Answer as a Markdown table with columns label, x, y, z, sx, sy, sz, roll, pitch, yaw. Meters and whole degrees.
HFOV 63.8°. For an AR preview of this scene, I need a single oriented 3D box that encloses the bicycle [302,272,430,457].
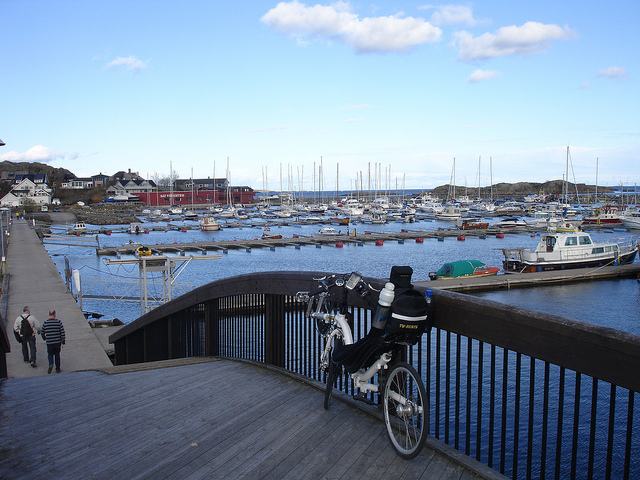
| label | x | y | z | sx | sy | sz | roll | pitch | yaw |
| --- | --- | --- | --- | --- | --- | --- | --- | --- | --- |
| bicycle | 0.424 | 1.035 | 4.409 | 0.726 | 1.103 | 1.777 | 19 | -8 | -25 |

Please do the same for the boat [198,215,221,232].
| label | x | y | z | sx | sy | sz | roll | pitch | yaw |
| --- | --- | --- | --- | --- | --- | --- | --- | --- | --- |
| boat | -16.678 | -2.554 | 78.626 | 2.370 | 2.306 | 5.642 | -1 | 2 | -17 |

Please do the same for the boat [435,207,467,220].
| label | x | y | z | sx | sy | sz | roll | pitch | yaw |
| --- | --- | --- | --- | --- | --- | --- | --- | --- | --- |
| boat | 24.521 | -5.031 | 96.932 | 4.628 | 2.727 | 9.497 | -1 | 1 | 10 |

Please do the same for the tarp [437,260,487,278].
| label | x | y | z | sx | sy | sz | roll | pitch | yaw |
| --- | --- | --- | --- | --- | --- | --- | --- | --- | --- |
| tarp | 8.520 | 1.681 | 30.890 | 2.218 | 0.608 | 1.188 | -3 | 7 | -18 |

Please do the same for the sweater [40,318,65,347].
| label | x | y | z | sx | sy | sz | roll | pitch | yaw |
| --- | --- | --- | --- | --- | --- | --- | --- | --- | --- |
| sweater | -6.439 | 2.234 | 12.435 | 0.469 | 0.739 | 0.430 | -6 | 2 | -19 |

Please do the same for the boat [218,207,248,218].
| label | x | y | z | sx | sy | sz | roll | pitch | yaw |
| --- | --- | --- | --- | --- | --- | --- | --- | --- | --- |
| boat | -17.344 | -5.926 | 102.955 | 3.030 | 2.274 | 9.629 | -8 | 4 | -15 |

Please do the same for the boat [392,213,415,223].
| label | x | y | z | sx | sy | sz | roll | pitch | yaw |
| --- | --- | --- | --- | --- | --- | --- | --- | --- | --- |
| boat | 15.237 | -3.803 | 91.836 | 2.905 | 1.094 | 2.107 | 7 | 7 | 38 |

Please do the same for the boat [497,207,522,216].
| label | x | y | z | sx | sy | sz | roll | pitch | yaw |
| --- | --- | --- | --- | --- | --- | --- | --- | --- | --- |
| boat | 38.432 | -5.761 | 104.039 | 4.894 | 1.338 | 1.931 | -1 | 19 | 5 |

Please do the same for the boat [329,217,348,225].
| label | x | y | z | sx | sy | sz | roll | pitch | yaw |
| --- | --- | --- | --- | --- | --- | --- | --- | --- | --- |
| boat | 3.337 | -3.300 | 88.678 | 1.953 | 0.968 | 9.548 | -5 | 1 | -5 |

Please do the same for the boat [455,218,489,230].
| label | x | y | z | sx | sy | sz | roll | pitch | yaw |
| --- | --- | --- | --- | --- | --- | --- | --- | --- | --- |
| boat | 22.295 | -2.487 | 75.500 | 2.472 | 1.678 | 5.762 | 0 | 0 | 5 |

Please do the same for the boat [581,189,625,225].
| label | x | y | z | sx | sy | sz | roll | pitch | yaw |
| --- | --- | --- | --- | --- | --- | --- | --- | --- | --- |
| boat | 42.649 | -4.143 | 77.402 | 6.913 | 2.837 | 2.203 | -1 | 10 | 17 |

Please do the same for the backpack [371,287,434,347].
| label | x | y | z | sx | sy | sz | roll | pitch | yaw |
| --- | --- | --- | --- | --- | --- | --- | --- | --- | --- |
| backpack | 0.665 | 0.496 | 3.975 | 0.443 | 0.424 | 0.444 | 6 | 1 | -3 |

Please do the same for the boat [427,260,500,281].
| label | x | y | z | sx | sy | sz | roll | pitch | yaw |
| --- | --- | --- | --- | --- | --- | --- | --- | --- | --- |
| boat | 8.927 | 1.957 | 31.096 | 4.459 | 1.245 | 1.399 | -6 | 15 | -15 |

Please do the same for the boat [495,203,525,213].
| label | x | y | z | sx | sy | sz | roll | pitch | yaw |
| --- | --- | --- | --- | --- | --- | --- | --- | --- | --- |
| boat | 40.127 | -6.933 | 108.742 | 4.387 | 2.378 | 12.352 | -4 | 1 | 21 |

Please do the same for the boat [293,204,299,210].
| label | x | y | z | sx | sy | sz | roll | pitch | yaw |
| --- | --- | --- | --- | --- | --- | --- | --- | --- | --- |
| boat | -5.435 | -7.905 | 121.021 | 1.913 | 0.850 | 2.434 | -3 | 6 | -1 |

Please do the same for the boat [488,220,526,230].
| label | x | y | z | sx | sy | sz | roll | pitch | yaw |
| --- | --- | --- | --- | --- | --- | --- | --- | --- | --- |
| boat | 27.155 | -2.178 | 73.482 | 3.230 | 1.118 | 2.307 | 0 | 5 | 14 |

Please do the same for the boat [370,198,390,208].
| label | x | y | z | sx | sy | sz | roll | pitch | yaw |
| --- | --- | --- | --- | --- | --- | --- | --- | --- | --- |
| boat | 14.795 | -9.146 | 122.520 | 2.061 | 2.370 | 6.788 | 2 | 1 | 34 |

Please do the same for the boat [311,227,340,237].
| label | x | y | z | sx | sy | sz | roll | pitch | yaw |
| --- | --- | --- | --- | --- | --- | --- | --- | --- | --- |
| boat | 0.935 | -1.046 | 65.506 | 1.259 | 1.293 | 3.743 | -2 | 1 | -31 |

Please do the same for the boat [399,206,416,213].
| label | x | y | z | sx | sy | sz | roll | pitch | yaw |
| --- | --- | --- | --- | --- | --- | --- | --- | --- | --- |
| boat | 18.041 | -6.536 | 105.138 | 1.475 | 1.379 | 5.689 | 0 | -2 | 20 |

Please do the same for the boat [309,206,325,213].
| label | x | y | z | sx | sy | sz | roll | pitch | yaw |
| --- | --- | --- | --- | --- | --- | --- | --- | --- | --- |
| boat | -0.419 | -6.865 | 112.775 | 2.562 | 1.904 | 5.314 | -1 | 2 | 1 |

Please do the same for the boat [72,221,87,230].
| label | x | y | z | sx | sy | sz | roll | pitch | yaw |
| --- | --- | --- | --- | --- | --- | --- | --- | --- | --- |
| boat | -33.680 | -2.061 | 72.565 | 1.543 | 1.129 | 2.321 | -2 | 14 | -27 |

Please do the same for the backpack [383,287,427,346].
| label | x | y | z | sx | sy | sz | roll | pitch | yaw |
| --- | --- | --- | --- | --- | --- | --- | --- | --- | --- |
| backpack | 0.704 | 0.520 | 3.941 | 0.288 | 0.383 | 0.388 | 4 | 10 | 9 |

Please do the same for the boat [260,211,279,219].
| label | x | y | z | sx | sy | sz | roll | pitch | yaw |
| --- | --- | --- | --- | --- | --- | --- | --- | --- | --- |
| boat | -10.601 | -5.525 | 109.336 | 3.294 | 1.429 | 9.469 | -5 | 1 | -6 |

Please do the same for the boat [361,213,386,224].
| label | x | y | z | sx | sy | sz | roll | pitch | yaw |
| --- | --- | --- | --- | --- | --- | --- | --- | --- | --- |
| boat | 9.591 | -3.889 | 90.610 | 2.946 | 1.491 | 5.220 | 0 | -1 | 3 |

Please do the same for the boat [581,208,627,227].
| label | x | y | z | sx | sy | sz | roll | pitch | yaw |
| --- | --- | --- | --- | --- | --- | --- | --- | --- | --- |
| boat | 40.630 | -3.107 | 77.251 | 8.702 | 3.263 | 2.881 | -1 | 3 | 38 |
